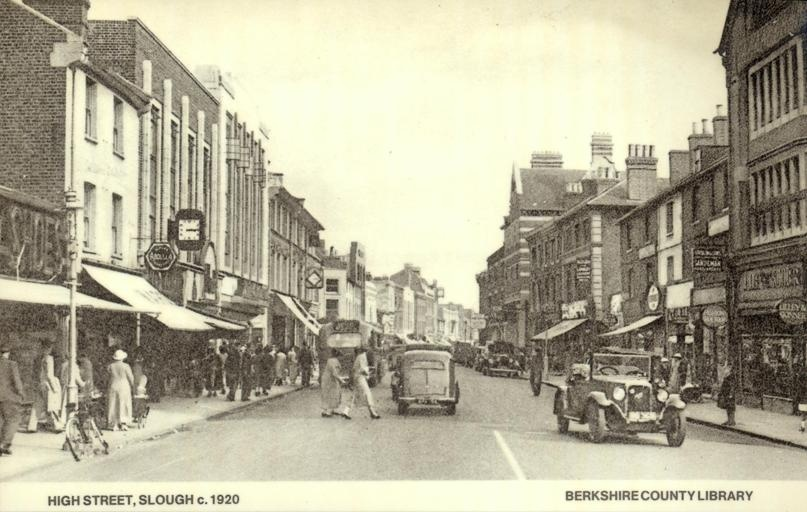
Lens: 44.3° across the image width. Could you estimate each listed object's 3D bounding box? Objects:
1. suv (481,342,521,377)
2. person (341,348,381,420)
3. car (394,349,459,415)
[{"bbox_3d":[6.205,6.656,63.315,1.626,1.432,2.812,1,-18,-4],"label":"suv"},{"bbox_3d":[-1.616,4.715,36.495,1.247,2.769,1.201,-2,-1,34],"label":"person"},{"bbox_3d":[0.917,4.685,37.235,2.165,2.409,0.789,1,-11,-12],"label":"car"}]
